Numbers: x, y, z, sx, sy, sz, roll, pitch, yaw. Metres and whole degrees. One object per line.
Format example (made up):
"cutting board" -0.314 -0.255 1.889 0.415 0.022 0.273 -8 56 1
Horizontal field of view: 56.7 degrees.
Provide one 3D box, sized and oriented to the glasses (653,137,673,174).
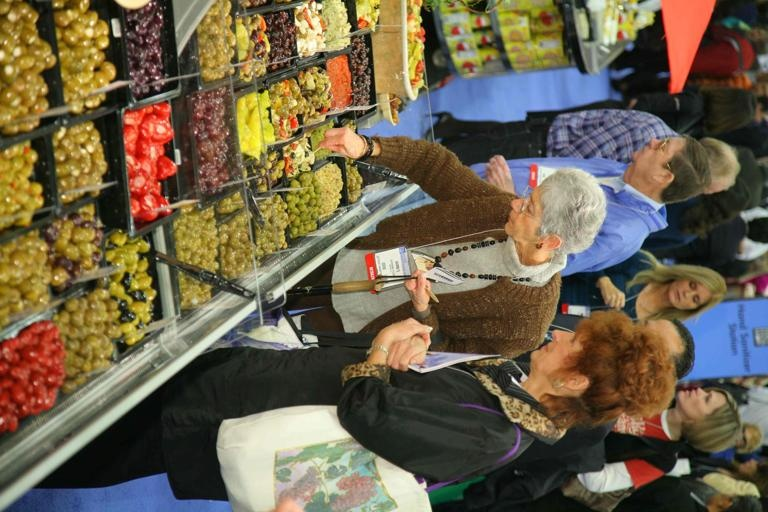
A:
"glasses" 2.108 -0.760 5.331 0.092 0.239 0.168 -2 15 20
